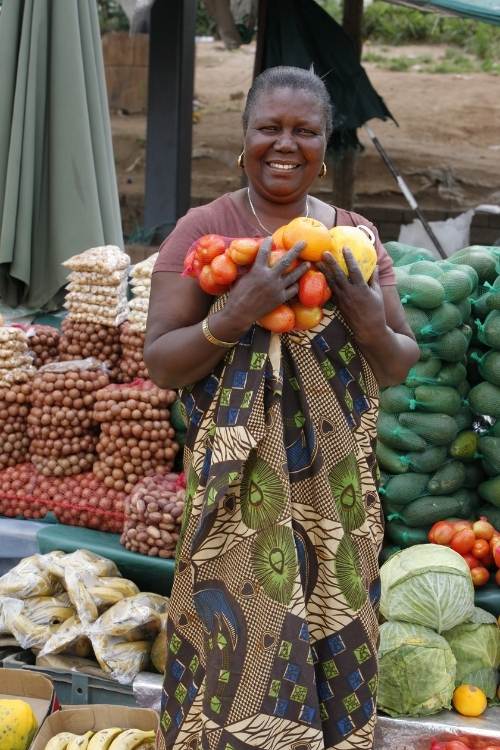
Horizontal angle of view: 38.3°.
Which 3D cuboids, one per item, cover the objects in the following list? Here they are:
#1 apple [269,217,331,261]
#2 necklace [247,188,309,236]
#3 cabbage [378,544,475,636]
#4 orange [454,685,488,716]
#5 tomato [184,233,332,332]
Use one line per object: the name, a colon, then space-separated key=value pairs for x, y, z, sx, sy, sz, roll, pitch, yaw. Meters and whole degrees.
apple: x=0.115 y=-0.287 z=1.531 sx=0.145 sy=0.088 sz=0.150 roll=0 pitch=11 yaw=4
necklace: x=0.057 y=-0.382 z=1.754 sx=0.150 sy=0.130 sz=0.063 roll=-4 pitch=-18 yaw=-19
cabbage: x=0.672 y=0.812 z=2.840 sx=0.396 sy=0.280 sz=0.316 roll=1 pitch=-1 yaw=-19
orange: x=0.823 y=1.234 z=2.714 sx=0.130 sy=0.127 sz=0.118 roll=1 pitch=16 yaw=12
tomato: x=-0.001 y=-0.199 z=1.605 sx=0.273 sy=0.226 sz=0.218 roll=-6 pitch=10 yaw=-37
